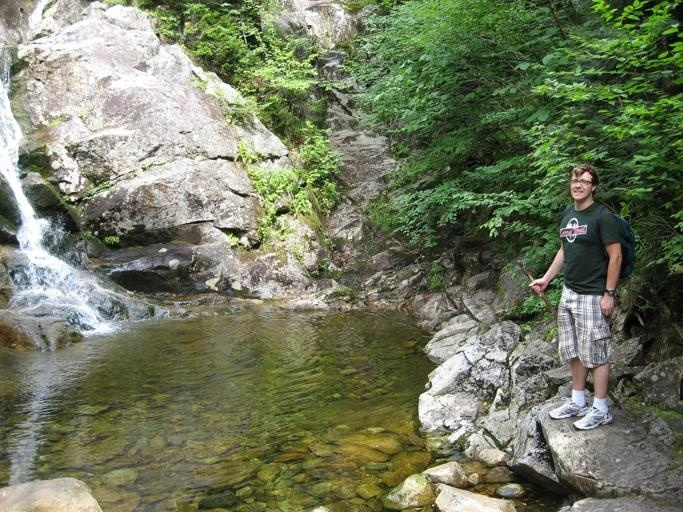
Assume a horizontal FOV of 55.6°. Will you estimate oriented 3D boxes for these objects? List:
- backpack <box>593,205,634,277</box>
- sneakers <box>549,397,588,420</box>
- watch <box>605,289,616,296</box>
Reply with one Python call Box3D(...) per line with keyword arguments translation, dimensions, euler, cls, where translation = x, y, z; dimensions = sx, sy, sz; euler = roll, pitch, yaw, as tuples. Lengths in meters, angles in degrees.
Box3D(translation=(3.705, -0.197, 8.716), dimensions=(0.433, 0.946, 0.398), euler=(-6, 24, 21), cls="backpack")
Box3D(translation=(2.994, 2.111, 8.891), dimensions=(0.680, 0.227, 0.211), euler=(-4, -11, 1), cls="sneakers")
Box3D(translation=(3.624, 0.490, 8.724), dimensions=(0.126, 0.070, 0.112), euler=(30, 25, 16), cls="watch")
